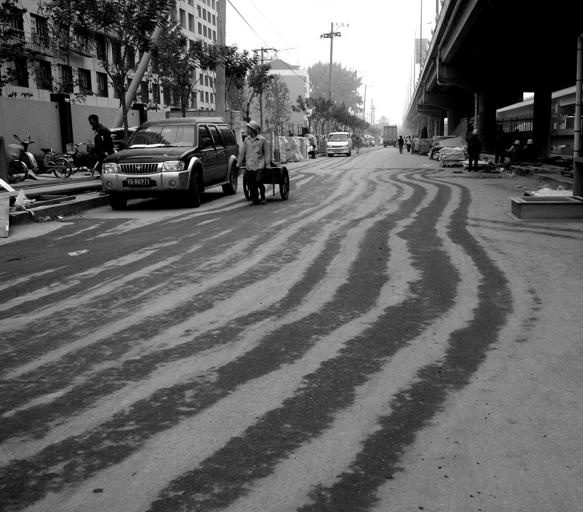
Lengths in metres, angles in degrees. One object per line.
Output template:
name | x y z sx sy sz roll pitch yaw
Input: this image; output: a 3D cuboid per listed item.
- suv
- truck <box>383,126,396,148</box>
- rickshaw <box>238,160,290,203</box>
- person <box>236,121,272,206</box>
suv | -3.001 -2.568 15.626 2.165 2.245 4.299 3 11 20
truck | 18.685 -22.645 111.635 2.379 3.973 6.370 1 10 11
rickshaw | -0.491 -1.978 15.251 0.657 0.818 1.317 3 21 14
person | -0.988 -2.319 14.601 0.682 1.981 0.805 -7 9 -44
